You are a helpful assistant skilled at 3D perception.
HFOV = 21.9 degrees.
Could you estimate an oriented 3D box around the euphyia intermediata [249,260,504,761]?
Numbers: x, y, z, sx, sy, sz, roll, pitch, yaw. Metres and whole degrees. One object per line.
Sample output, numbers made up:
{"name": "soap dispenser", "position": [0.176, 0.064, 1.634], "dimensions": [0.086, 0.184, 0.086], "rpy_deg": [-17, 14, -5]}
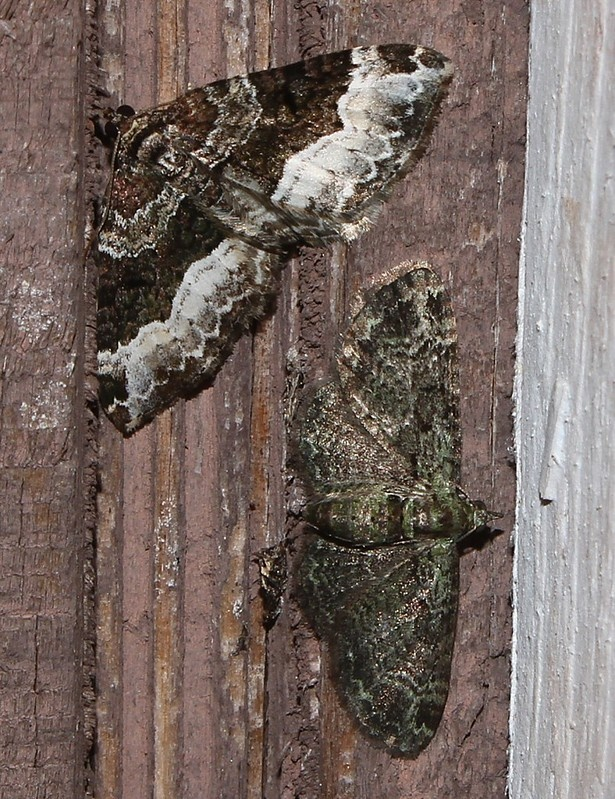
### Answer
{"name": "euphyia intermediata", "position": [0.134, 0.205, 3.092], "dimensions": [0.490, 0.129, 1.333], "rpy_deg": [-1, 88, 0]}
